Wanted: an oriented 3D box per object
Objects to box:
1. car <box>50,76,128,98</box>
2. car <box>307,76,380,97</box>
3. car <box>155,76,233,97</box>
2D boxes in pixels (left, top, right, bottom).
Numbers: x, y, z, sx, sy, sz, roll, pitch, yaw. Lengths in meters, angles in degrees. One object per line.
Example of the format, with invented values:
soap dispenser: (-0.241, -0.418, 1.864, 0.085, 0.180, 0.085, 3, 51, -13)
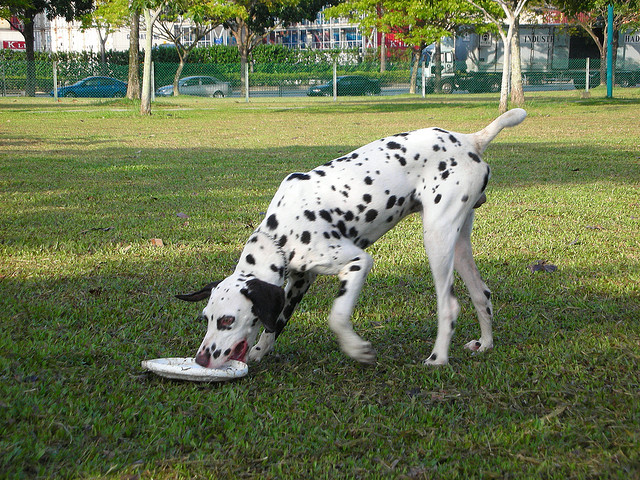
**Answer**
car: (-14.446, -9.690, 41.983, 4.005, 1.369, 1.638, -2, 11, -19)
car: (1.773, -10.666, 45.979, 4.457, 1.780, 2.109, -5, 19, -19)
car: (-8.496, -10.529, 45.487, 4.165, 1.698, 2.188, -1, 9, -17)
